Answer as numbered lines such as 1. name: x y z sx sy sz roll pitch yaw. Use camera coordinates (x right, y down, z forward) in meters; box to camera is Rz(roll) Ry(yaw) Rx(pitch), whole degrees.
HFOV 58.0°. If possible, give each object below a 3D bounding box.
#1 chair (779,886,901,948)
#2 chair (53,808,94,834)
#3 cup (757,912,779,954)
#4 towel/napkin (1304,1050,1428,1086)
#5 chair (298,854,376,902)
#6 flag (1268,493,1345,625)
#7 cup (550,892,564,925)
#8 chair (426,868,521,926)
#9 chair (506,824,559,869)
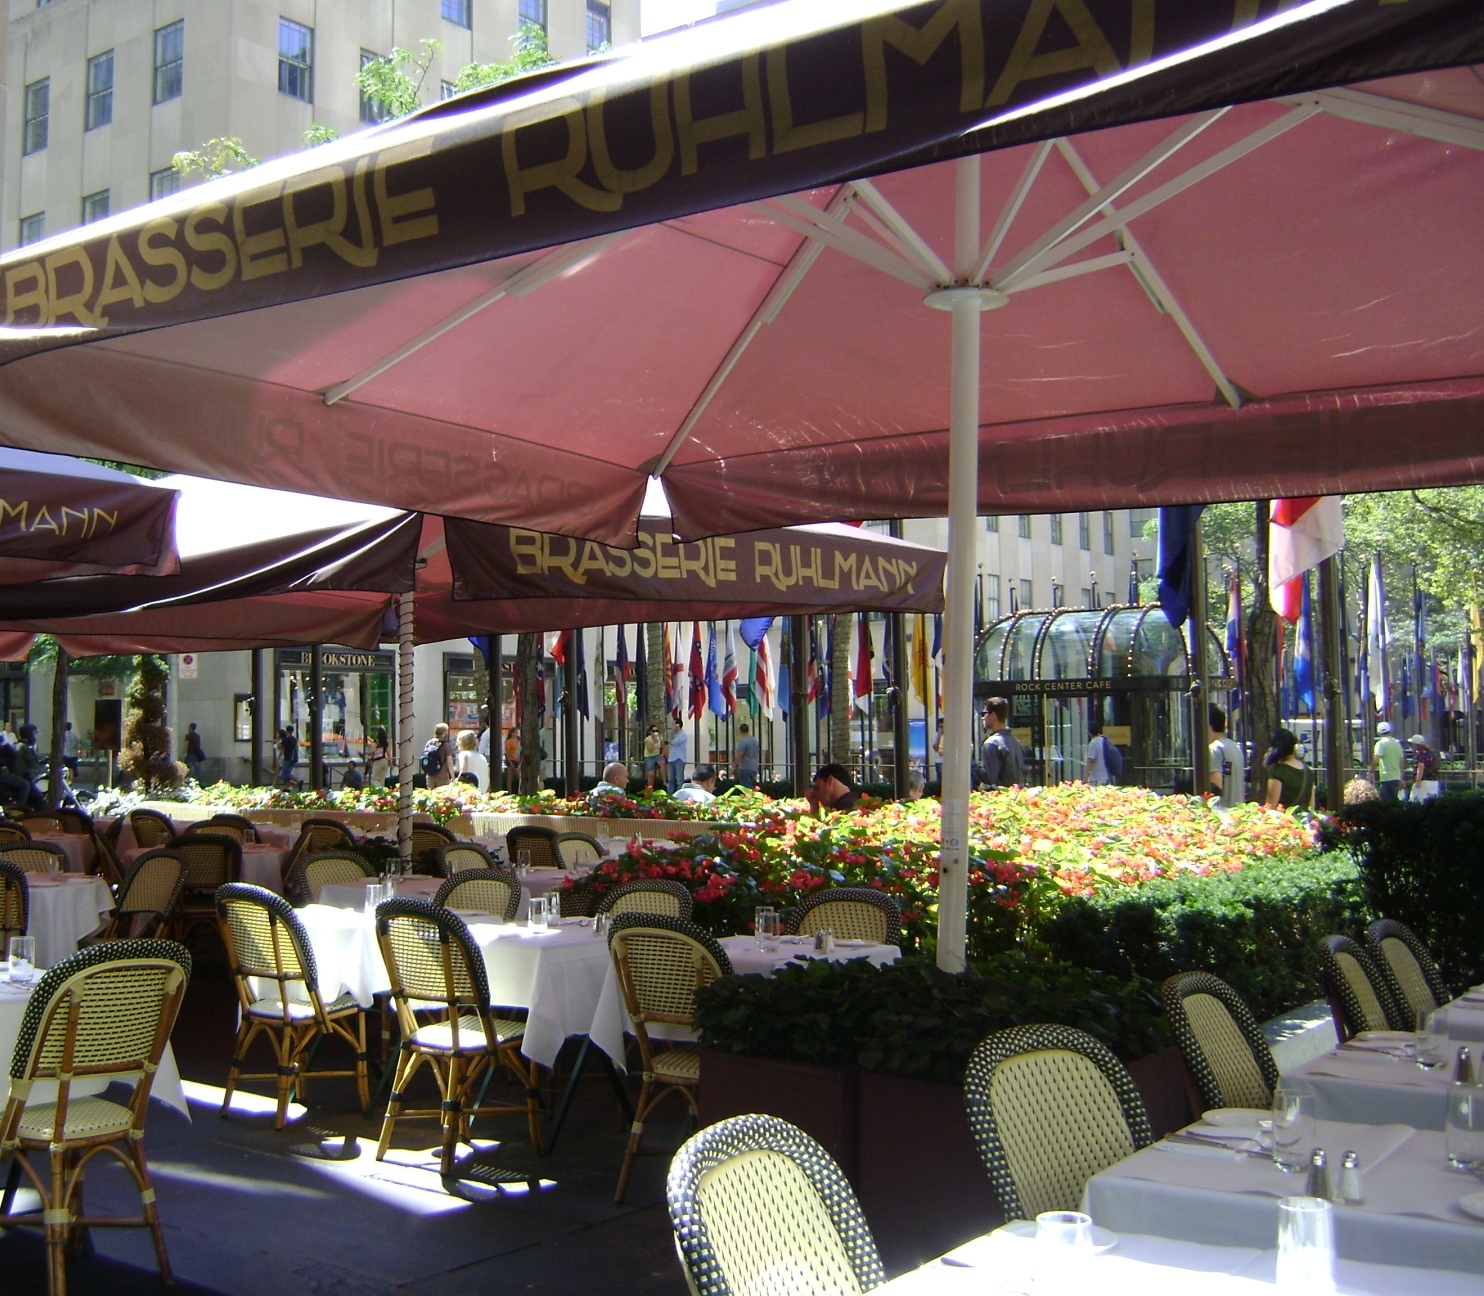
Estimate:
1. chair: 0.637 1.570 7.965 0.405 0.483 0.368 -1 -12 16
2. chair: -7.341 1.890 14.755 0.351 0.161 0.454 6 -7 -11
3. cup: 0.150 1.525 7.285 0.140 0.199 0.142 -1 0 0
4. towel/napkin: 1.934 1.287 4.111 0.287 0.064 0.267 0 -3 13
5. chair: -3.079 1.753 10.343 0.468 0.545 0.437 5 -21 -22
6. flag: 5.113 -0.908 12.073 0.743 0.320 1.853 -3 -24 15
7. cup: -1.087 1.511 7.790 0.068 0.185 0.141 4 2 -13
8. chair: -1.718 1.588 8.626 0.408 0.481 0.381 1 -15 -4
9. chair: -1.844 1.747 11.902 0.346 0.427 0.371 1 -11 -5
